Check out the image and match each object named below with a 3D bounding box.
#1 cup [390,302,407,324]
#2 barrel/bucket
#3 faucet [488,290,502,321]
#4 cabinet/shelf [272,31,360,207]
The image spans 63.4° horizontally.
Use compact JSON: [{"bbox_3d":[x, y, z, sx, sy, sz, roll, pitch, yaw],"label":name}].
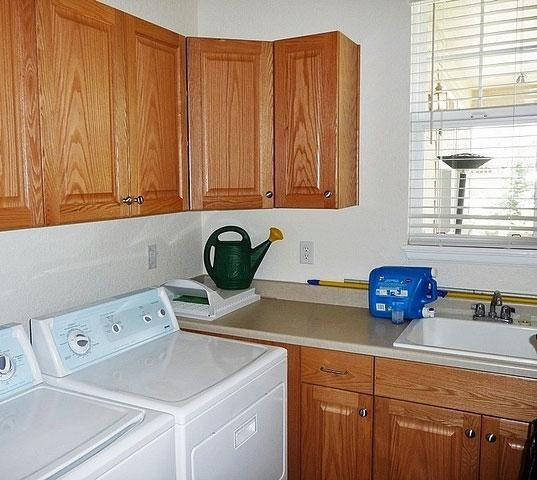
[{"bbox_3d":[0.576,0.320,1.940,0.079,0.144,0.079,0,-1,0],"label":"cup"},{"bbox_3d":[0.649,0.225,2.058,0.301,0.270,0.189,2,1,31],"label":"barrel/bucket"},{"bbox_3d":[1.010,0.280,1.927,0.047,0.122,0.163,3,9,31],"label":"faucet"},{"bbox_3d":[0.253,-0.550,2.017,0.462,0.787,0.301,-3,8,-9],"label":"cabinet/shelf"}]
